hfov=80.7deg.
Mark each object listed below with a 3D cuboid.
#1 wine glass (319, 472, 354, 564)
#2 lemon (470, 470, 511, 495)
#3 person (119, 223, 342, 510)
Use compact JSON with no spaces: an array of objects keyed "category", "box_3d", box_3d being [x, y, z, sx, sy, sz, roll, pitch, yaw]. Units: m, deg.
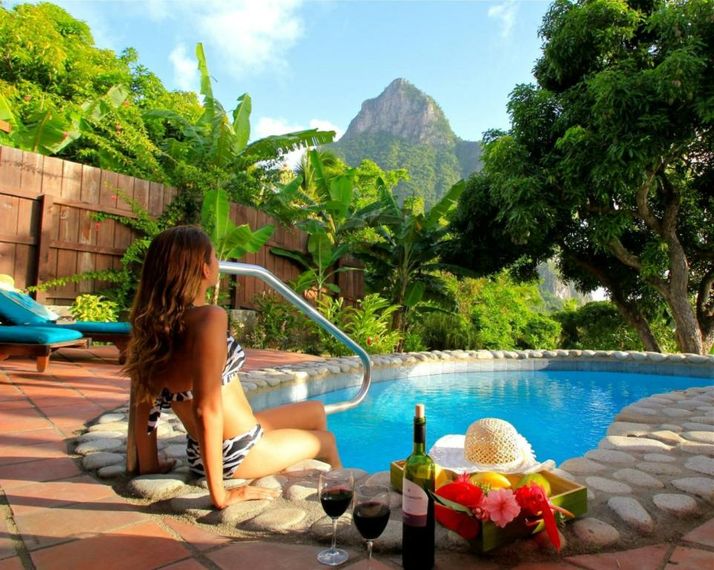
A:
[{"category":"wine glass","box_3d":[-0.079,0.808,1.507,0.117,0.286,0.249,1,0,-5]},{"category":"lemon","box_3d":[0.551,0.818,1.748,0.136,0.076,0.164,1,0,-7]},{"category":"person","box_3d":[-0.621,0.363,2.028,0.633,0.908,0.832,2,0,41]}]
